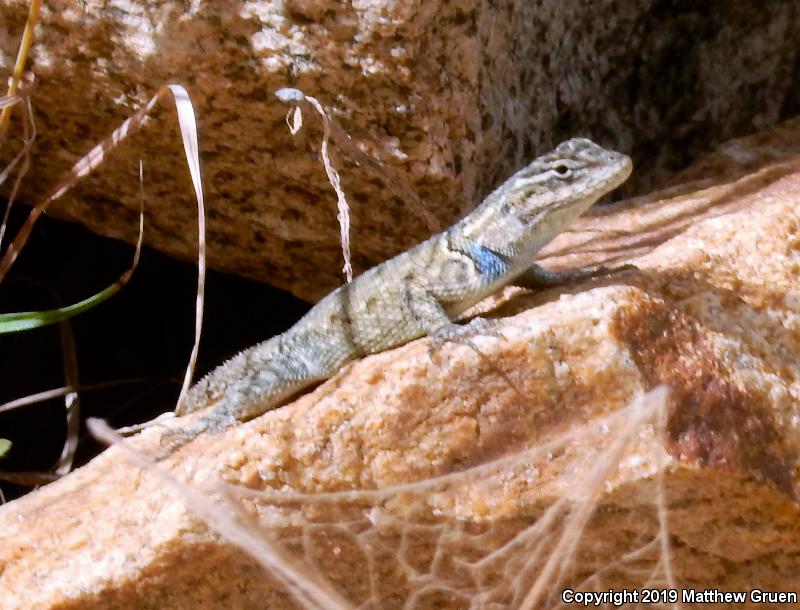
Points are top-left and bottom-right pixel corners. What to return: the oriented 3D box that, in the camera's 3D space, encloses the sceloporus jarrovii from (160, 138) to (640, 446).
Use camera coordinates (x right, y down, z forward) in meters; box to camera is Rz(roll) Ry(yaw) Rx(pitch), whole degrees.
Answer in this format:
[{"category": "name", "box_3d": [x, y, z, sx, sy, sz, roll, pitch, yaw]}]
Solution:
[{"category": "sceloporus jarrovii", "box_3d": [-0.011, -0.046, 4.877, 2.242, 0.706, 1.381, -16, 0, 22]}]
